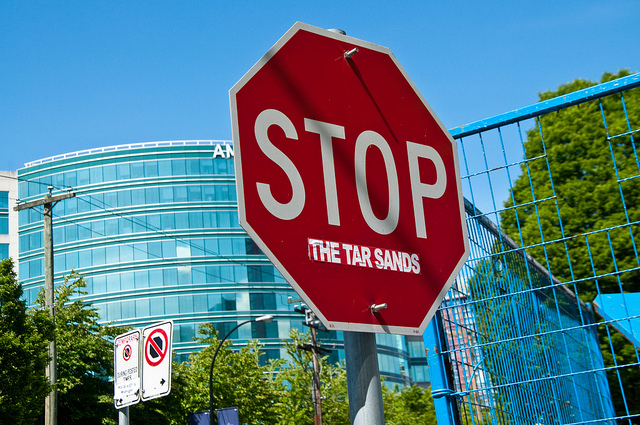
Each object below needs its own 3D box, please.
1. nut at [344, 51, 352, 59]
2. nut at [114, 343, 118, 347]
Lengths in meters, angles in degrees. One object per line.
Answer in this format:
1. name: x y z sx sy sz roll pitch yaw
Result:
1. nut: 0.801 -4.659 30.651 0.164 0.174 0.068 2 -11 15
2. nut: -6.541 4.304 33.599 0.075 0.113 0.030 -21 -27 34
